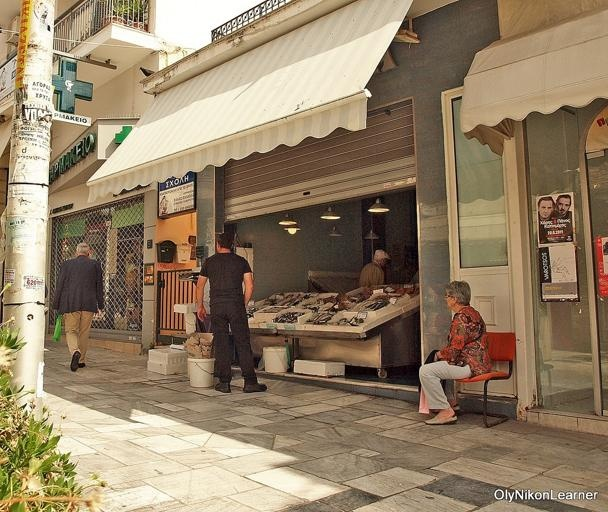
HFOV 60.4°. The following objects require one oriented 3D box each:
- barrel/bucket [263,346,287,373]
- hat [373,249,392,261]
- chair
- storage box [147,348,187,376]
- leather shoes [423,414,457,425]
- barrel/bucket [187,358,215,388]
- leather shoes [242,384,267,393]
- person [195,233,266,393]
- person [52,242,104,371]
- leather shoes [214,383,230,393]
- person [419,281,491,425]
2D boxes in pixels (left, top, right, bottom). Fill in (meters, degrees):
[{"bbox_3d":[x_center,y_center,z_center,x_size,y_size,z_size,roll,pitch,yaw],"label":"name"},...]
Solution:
[{"bbox_3d":[-0.415,1.555,7.854,0.399,0.316,0.380,0,-4,0],"label":"barrel/bucket"},{"bbox_3d":[1.427,-0.022,9.311,0.371,0.177,0.254,-11,10,-33],"label":"hat"},{"bbox_3d":[1.781,1.200,5.219,0.620,0.811,0.554,-1,-5,-23],"label":"chair"},{"bbox_3d":[-2.128,1.644,8.239,0.549,0.294,0.526,2,-1,-38],"label":"storage box"},{"bbox_3d":[1.316,1.586,5.062,0.304,0.084,0.107,1,-7,-6],"label":"leather shoes"},{"bbox_3d":[-1.400,1.602,7.182,0.401,0.326,0.411,-1,-7,0],"label":"barrel/bucket"},{"bbox_3d":[-0.627,1.691,6.725,0.318,0.118,0.177,-1,-5,-17],"label":"leather shoes"},{"bbox_3d":[-1.002,0.734,6.839,0.843,2.070,0.370,-5,-6,17],"label":"person"},{"bbox_3d":[-3.702,0.819,8.581,0.755,2.075,0.527,0,-6,-22],"label":"person"},{"bbox_3d":[-1.042,1.677,6.693,0.098,0.164,0.188,1,3,-32],"label":"leather shoes"},{"bbox_3d":[1.462,0.939,5.123,0.674,1.379,0.217,-4,-6,12],"label":"person"}]
